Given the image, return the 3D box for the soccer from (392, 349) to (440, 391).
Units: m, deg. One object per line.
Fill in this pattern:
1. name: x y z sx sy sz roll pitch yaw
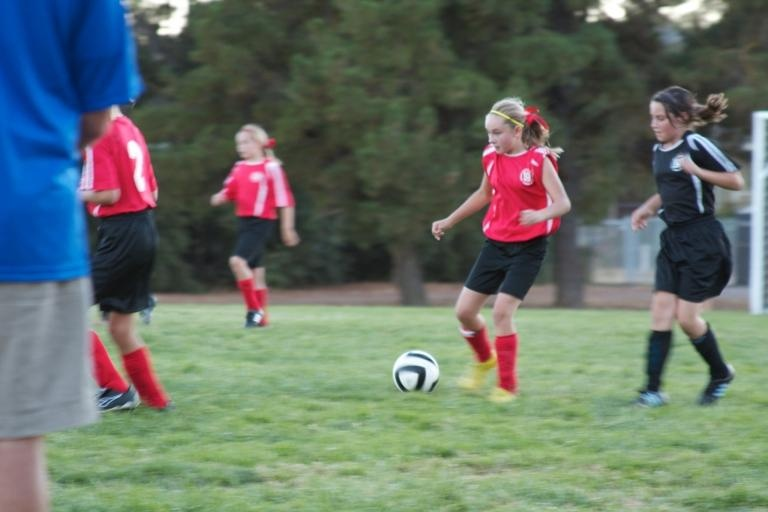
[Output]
1. soccer: 0.239 0.912 9.769 0.395 0.357 0.357 -7 -18 17

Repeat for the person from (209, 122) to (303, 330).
1. person: -1.225 -0.271 12.004 0.785 1.886 0.816 -1 14 -5

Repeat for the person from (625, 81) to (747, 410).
1. person: 2.240 -0.065 9.177 0.709 2.257 0.667 2 15 9

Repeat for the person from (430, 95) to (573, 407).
1. person: 0.919 -0.044 9.530 0.834 2.239 0.931 -4 15 -15

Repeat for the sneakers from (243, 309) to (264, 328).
1. sneakers: -1.221 0.595 11.873 0.163 0.151 0.413 -1 -7 3
